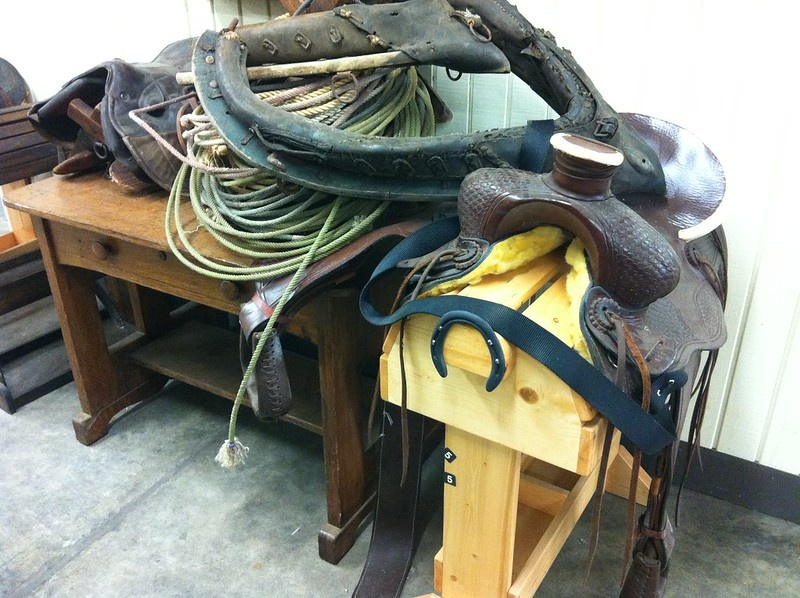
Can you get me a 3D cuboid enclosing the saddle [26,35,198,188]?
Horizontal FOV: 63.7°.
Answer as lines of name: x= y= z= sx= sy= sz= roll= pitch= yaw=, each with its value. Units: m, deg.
saddle: x=-0.980 y=-0.637 z=2.134 sx=0.293 sy=0.144 sz=0.393 roll=15 pitch=52 yaw=-12
